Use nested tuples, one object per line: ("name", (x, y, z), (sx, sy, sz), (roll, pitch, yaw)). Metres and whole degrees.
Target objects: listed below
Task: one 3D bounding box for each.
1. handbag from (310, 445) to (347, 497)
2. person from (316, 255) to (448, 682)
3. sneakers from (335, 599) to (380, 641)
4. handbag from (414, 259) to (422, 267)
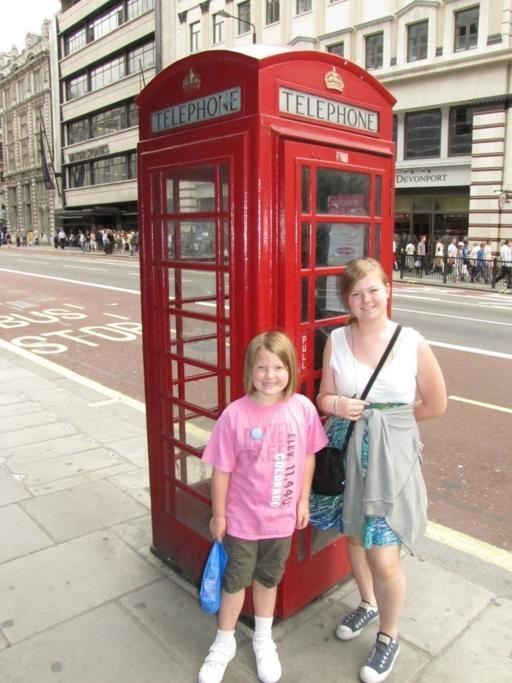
("handbag", (0.317, 0.567, 2.478), (0.120, 0.218, 0.160), (1, -9, -41))
("person", (0.462, 0.518, 2.457), (0.519, 1.709, 0.456), (9, 14, 41))
("sneakers", (0.486, 1.315, 2.700), (0.087, 0.105, 0.261), (3, -1, 39))
("handbag", (6.890, -3.295, 24.351), (0.267, 0.501, 0.264), (-4, 10, -20))
